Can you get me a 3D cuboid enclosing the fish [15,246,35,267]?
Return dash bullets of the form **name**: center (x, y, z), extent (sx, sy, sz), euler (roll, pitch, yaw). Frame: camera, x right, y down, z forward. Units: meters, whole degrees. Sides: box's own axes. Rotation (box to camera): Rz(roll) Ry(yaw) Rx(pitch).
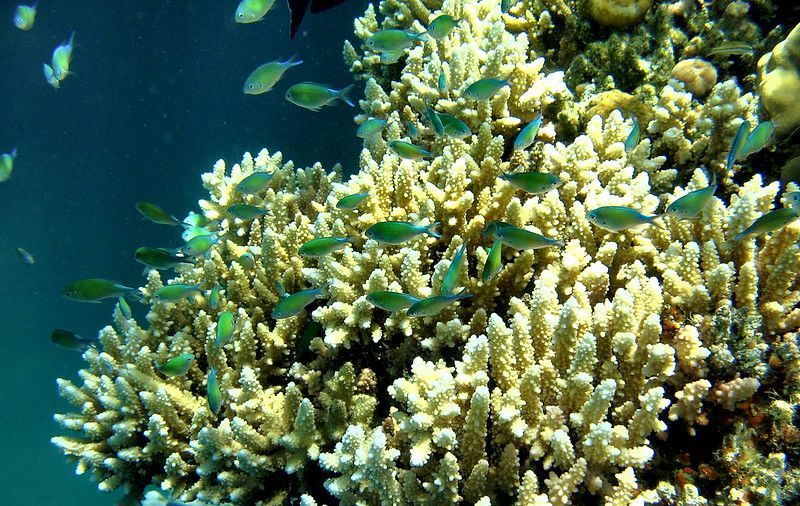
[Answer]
- **fish**: center (-9.205, 0.051, 19.122), extent (0.229, 0.276, 0.710), euler (5, 18, -30)
